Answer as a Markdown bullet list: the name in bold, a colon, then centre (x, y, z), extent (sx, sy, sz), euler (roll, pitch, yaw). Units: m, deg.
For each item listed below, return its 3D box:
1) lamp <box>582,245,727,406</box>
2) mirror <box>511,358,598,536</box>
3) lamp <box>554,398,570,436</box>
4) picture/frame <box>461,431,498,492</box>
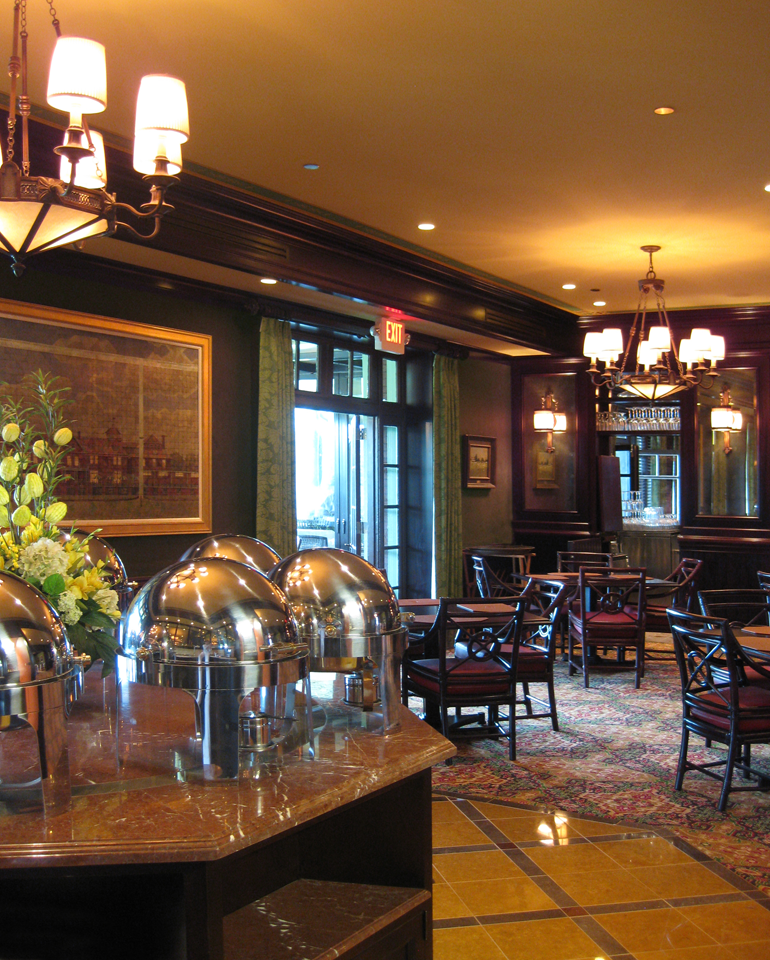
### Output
- **lamp**: centre (2.295, -1.346, 7.285), extent (1.413, 1.559, 1.356), euler (0, -5, 4)
- **mirror**: centre (1.827, -0.363, 9.233), extent (0.918, 1.885, 0.171), euler (-2, -2, 32)
- **lamp**: centre (1.895, -0.689, 9.160), extent (0.183, 0.402, 0.158), euler (-1, -2, 9)
- **picture/frame**: centre (0.984, -0.194, 8.965), extent (0.118, 0.614, 0.712), euler (-2, -3, 39)
